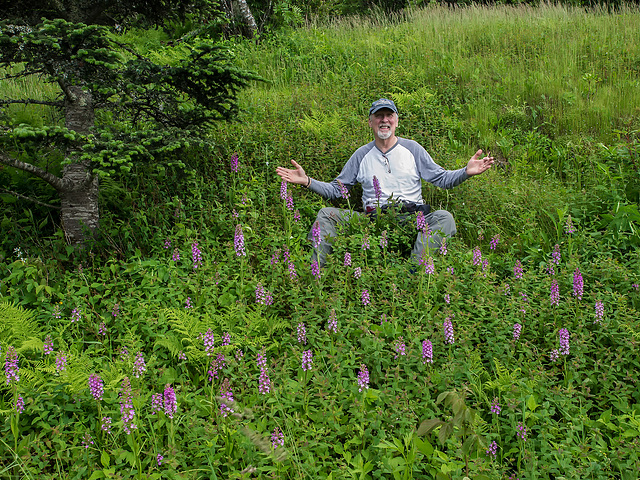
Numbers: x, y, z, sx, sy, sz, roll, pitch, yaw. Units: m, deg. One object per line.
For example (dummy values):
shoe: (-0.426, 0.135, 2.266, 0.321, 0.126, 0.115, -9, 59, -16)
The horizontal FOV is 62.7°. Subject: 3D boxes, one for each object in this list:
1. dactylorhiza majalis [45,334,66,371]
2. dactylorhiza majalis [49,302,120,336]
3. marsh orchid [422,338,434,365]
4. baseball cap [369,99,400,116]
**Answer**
dactylorhiza majalis: (-2.714, 1.173, 5.400, 0.173, 0.153, 0.356, 11, 54, -33)
dactylorhiza majalis: (-2.660, 0.911, 5.921, 0.765, 0.330, 0.173, 7, 21, -4)
marsh orchid: (1.081, 1.138, 5.331, 0.094, 0.238, 0.101, -11, 29, -2)
baseball cap: (0.929, -1.973, 7.775, 0.407, 0.213, 0.330, -11, 31, -2)
